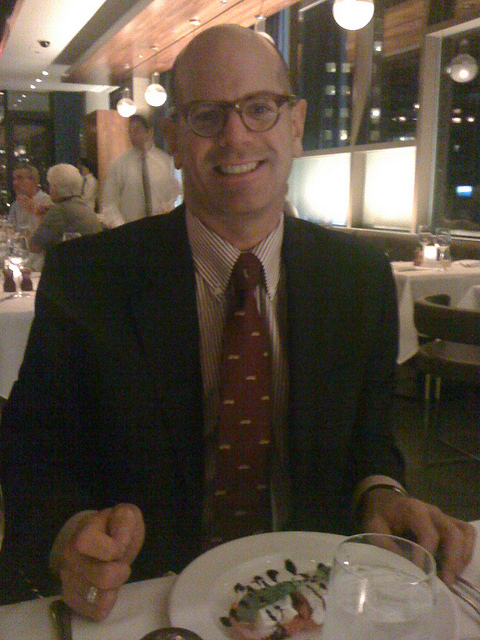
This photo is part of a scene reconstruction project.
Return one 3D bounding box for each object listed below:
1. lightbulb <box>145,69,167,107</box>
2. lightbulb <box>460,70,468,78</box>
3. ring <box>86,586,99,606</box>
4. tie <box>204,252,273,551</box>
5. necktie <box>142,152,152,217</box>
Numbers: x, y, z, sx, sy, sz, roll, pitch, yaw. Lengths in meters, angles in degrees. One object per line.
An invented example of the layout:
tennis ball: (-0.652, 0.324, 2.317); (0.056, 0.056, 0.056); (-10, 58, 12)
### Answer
lightbulb: (-0.099, -0.274, 0.700); (0.020, 0.043, 0.054); (-2, 9, -18)
lightbulb: (1.371, -1.504, 3.635); (0.045, 0.047, 0.019); (3, 9, 16)
ring: (-0.111, 0.206, 0.445); (0.008, 0.013, 0.005); (6, -19, 0)
tie: (-0.004, 0.109, 0.776); (0.083, 0.391, 0.042); (0, 9, -4)
necktie: (-0.125, -0.182, 0.797); (0.012, 0.079, 0.036); (-1, 9, -8)
